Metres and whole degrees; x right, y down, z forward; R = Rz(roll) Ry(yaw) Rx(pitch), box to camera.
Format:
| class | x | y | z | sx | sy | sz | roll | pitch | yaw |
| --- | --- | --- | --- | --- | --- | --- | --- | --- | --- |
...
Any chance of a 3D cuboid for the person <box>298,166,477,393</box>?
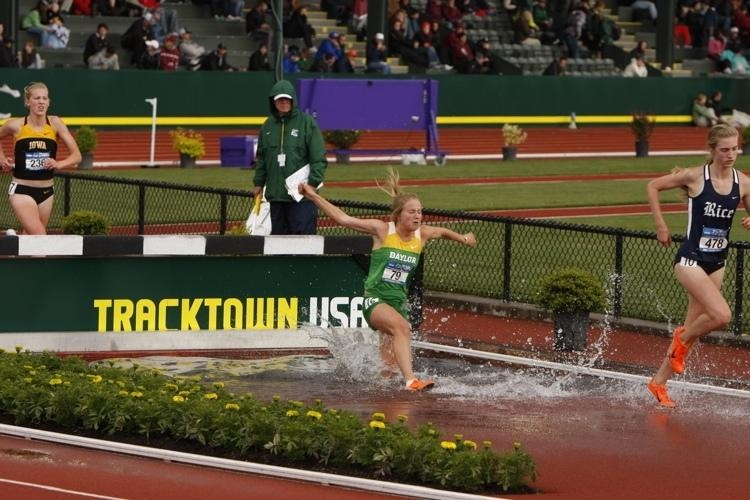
| class | x | y | z | sx | sy | sz | roll | pitch | yaw |
| --- | --- | --- | --- | --- | --- | --- | --- | --- | --- |
| person | 0.158 | 0.277 | 13.773 | 1.546 | 2.232 | 1.090 | 7 | 14 | 24 |

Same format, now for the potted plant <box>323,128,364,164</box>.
| class | x | y | z | sx | sy | sz | roll | pitch | yaw |
| --- | --- | --- | --- | --- | --- | --- | --- | --- | --- |
| potted plant | -0.874 | -2.952 | 34.868 | 1.051 | 1.032 | 0.947 | 0 | 0 | -4 |

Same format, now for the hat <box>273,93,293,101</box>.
| class | x | y | z | sx | sy | sz | roll | pitch | yaw |
| --- | --- | --- | --- | --- | --- | --- | --- | --- | --- |
| hat | -1.156 | -1.933 | 15.563 | 0.243 | 0.101 | 0.179 | 0 | 13 | -7 |

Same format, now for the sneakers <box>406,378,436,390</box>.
| class | x | y | z | sx | sy | sz | roll | pitch | yaw |
| --- | --- | --- | --- | --- | --- | --- | --- | --- | --- |
| sneakers | 0.497 | 1.455 | 13.360 | 0.264 | 0.098 | 0.132 | -3 | 2 | 12 |

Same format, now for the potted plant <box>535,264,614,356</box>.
| class | x | y | z | sx | sy | sz | roll | pitch | yaw |
| --- | --- | --- | --- | --- | --- | --- | --- | --- | --- |
| potted plant | 2.388 | 0.735 | 15.425 | 0.954 | 0.970 | 0.980 | -4 | -6 | 31 |

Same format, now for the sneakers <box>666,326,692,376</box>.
| class | x | y | z | sx | sy | sz | roll | pitch | yaw |
| --- | --- | --- | --- | --- | --- | --- | --- | --- | --- |
| sneakers | 3.275 | 1.083 | 13.232 | 0.192 | 0.532 | 0.233 | -6 | 5 | -21 |

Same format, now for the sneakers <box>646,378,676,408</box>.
| class | x | y | z | sx | sy | sz | roll | pitch | yaw |
| --- | --- | --- | --- | --- | --- | --- | --- | --- | --- |
| sneakers | 3.063 | 1.523 | 13.157 | 0.373 | 0.156 | 0.138 | 38 | 28 | 24 |

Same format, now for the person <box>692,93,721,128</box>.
| class | x | y | z | sx | sy | sz | roll | pitch | yaw |
| --- | --- | --- | --- | --- | --- | --- | --- | --- | --- |
| person | 11.843 | -4.912 | 43.778 | 0.950 | 1.130 | 0.752 | -1 | 11 | 6 |

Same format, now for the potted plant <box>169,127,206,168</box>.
| class | x | y | z | sx | sy | sz | roll | pitch | yaw |
| --- | --- | --- | --- | --- | --- | --- | --- | --- | --- |
| potted plant | -4.846 | -2.660 | 32.005 | 1.080 | 1.056 | 1.015 | 0 | 3 | -9 |
